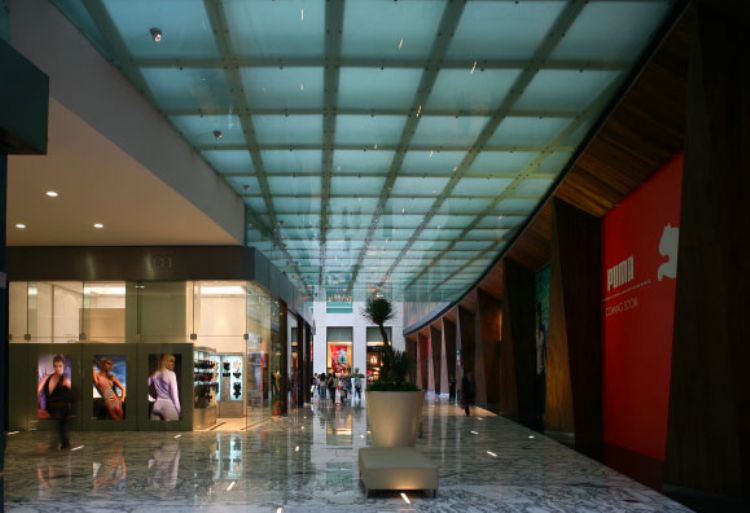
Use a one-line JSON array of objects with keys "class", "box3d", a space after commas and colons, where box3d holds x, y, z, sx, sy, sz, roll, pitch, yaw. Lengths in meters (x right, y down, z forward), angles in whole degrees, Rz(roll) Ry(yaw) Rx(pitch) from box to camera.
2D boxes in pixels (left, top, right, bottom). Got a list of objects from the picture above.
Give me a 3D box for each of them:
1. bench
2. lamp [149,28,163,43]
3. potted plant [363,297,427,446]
[{"class": "bench", "box3d": [0.580, 3.642, 10.110, 1.277, 0.530, 2.246, -3, 5, 7]}, {"class": "lamp", "box3d": [-3.835, -3.860, 9.438, 0.182, 0.091, 0.443, -4, 16, -19]}, {"class": "potted plant", "box3d": [0.533, 3.096, 14.396, 1.426, 3.926, 1.412, -1, -8, -3]}]
